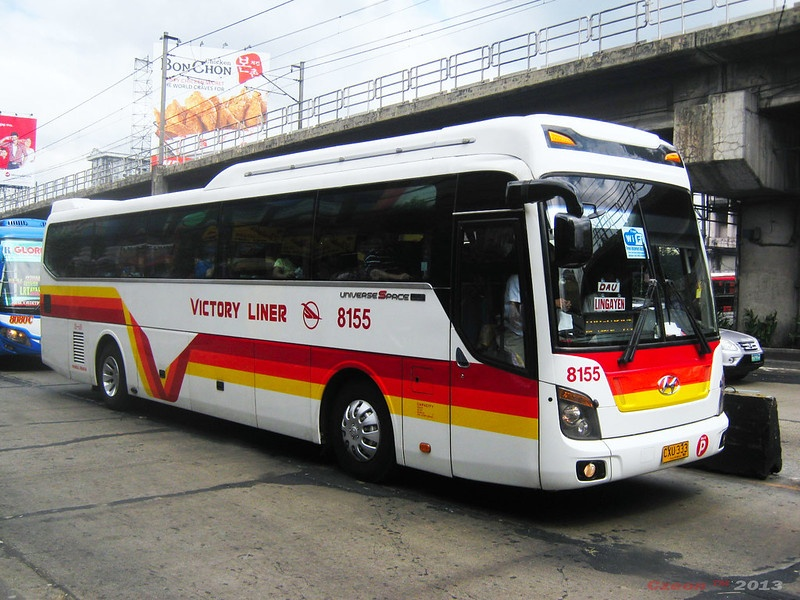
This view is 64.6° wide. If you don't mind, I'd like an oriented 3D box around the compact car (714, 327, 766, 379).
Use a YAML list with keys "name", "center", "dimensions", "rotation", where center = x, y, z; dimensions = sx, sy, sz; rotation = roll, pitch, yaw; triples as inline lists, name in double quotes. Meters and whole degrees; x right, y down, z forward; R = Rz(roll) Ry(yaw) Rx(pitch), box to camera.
- name: "compact car"
  center: [8.097, 1.137, 15.658]
  dimensions: [0.981, 1.057, 2.306]
  rotation: [-3, -3, 0]

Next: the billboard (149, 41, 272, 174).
- name: "billboard"
  center: [-19.790, -20.234, 66.335]
  dimensions: [11.619, 13.984, 0.063]
  rotation: [-3, -17, 5]

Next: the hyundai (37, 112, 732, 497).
- name: "hyundai"
  center: [-1.801, -0.085, 9.970]
  dimensions: [10.517, 3.938, 3.224]
  rotation: [1, 1, 39]

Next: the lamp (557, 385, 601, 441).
- name: "lamp"
  center: [1.623, 1.053, 5.762]
  dimensions: [0.299, 0.534, 0.277]
  rotation: [1, -1, 4]
